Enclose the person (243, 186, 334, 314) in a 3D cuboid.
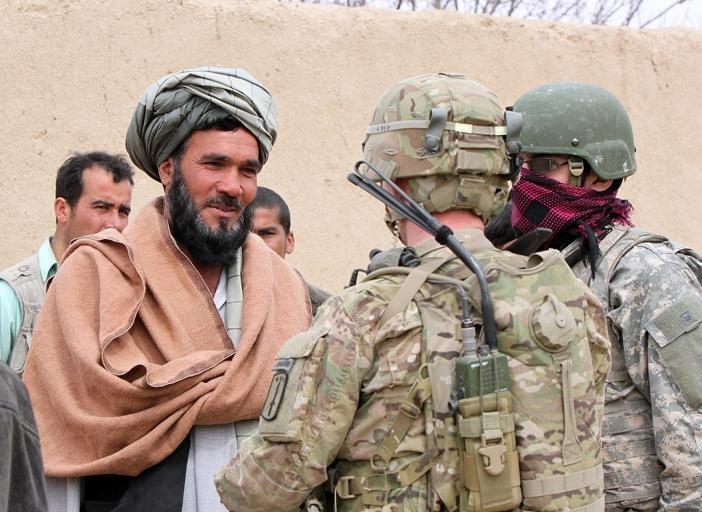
[{"bbox_3d":[-0.458,-0.025,8.472,1.023,0.725,0.502,0,-18,-6],"label":"person"}]
